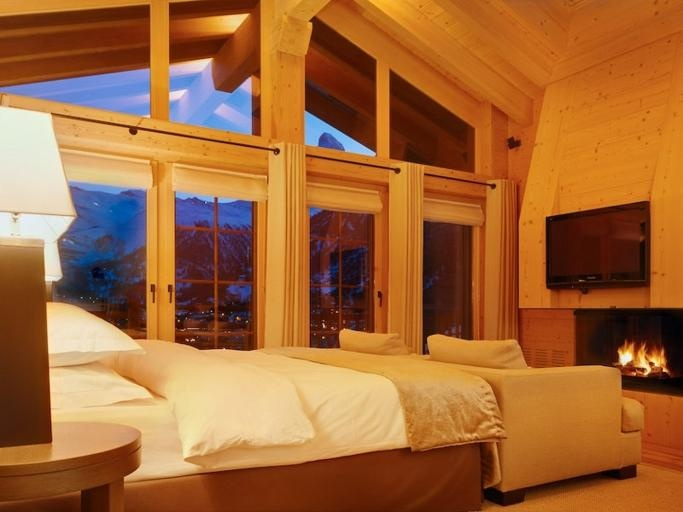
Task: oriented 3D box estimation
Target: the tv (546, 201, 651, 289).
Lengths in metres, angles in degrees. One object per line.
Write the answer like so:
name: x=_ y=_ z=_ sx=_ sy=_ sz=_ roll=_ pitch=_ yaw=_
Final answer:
tv: x=2.408 y=-0.106 z=5.125 sx=0.082 sy=0.608 sz=0.825 roll=3 pitch=-5 yaw=-28
